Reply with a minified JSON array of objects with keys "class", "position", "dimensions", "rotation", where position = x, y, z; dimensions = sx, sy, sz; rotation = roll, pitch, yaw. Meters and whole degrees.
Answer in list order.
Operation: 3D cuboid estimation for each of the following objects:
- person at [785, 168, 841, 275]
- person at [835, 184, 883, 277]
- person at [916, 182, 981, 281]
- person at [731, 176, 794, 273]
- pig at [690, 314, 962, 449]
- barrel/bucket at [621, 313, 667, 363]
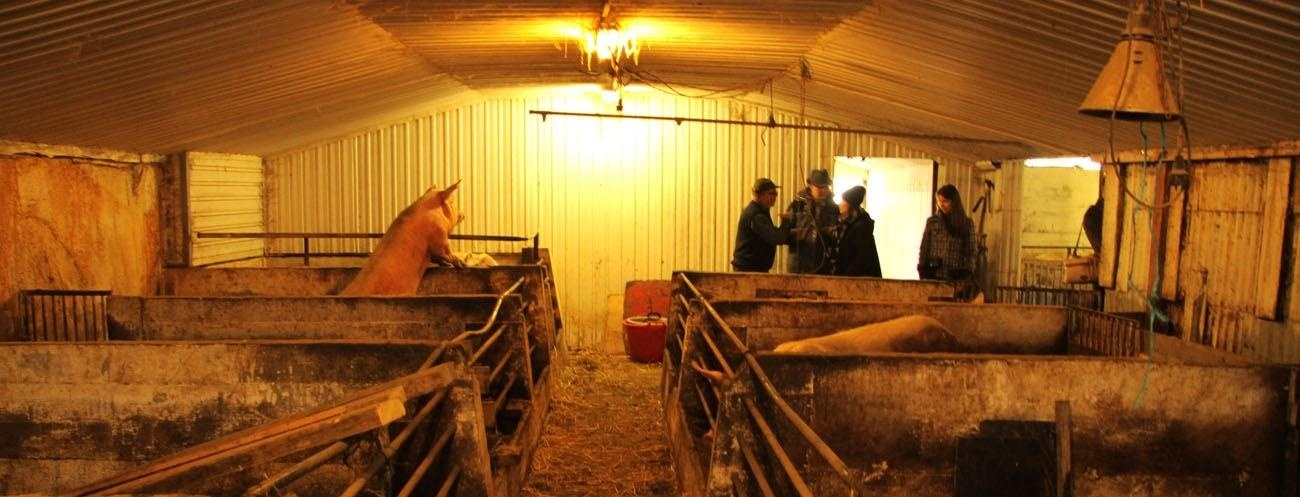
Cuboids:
[{"class":"person","position":[2.746,-0.470,24.595],"dimensions":[0.868,1.848,0.770],"rotation":[-1,0,-6]},{"class":"person","position":[3.557,-0.290,24.232],"dimensions":[0.713,1.594,0.628],"rotation":[5,-1,-10]},{"class":"person","position":[5.032,-0.284,24.202],"dimensions":[0.937,1.569,0.440],"rotation":[1,1,5]},{"class":"person","position":[1.844,-0.406,24.378],"dimensions":[0.906,1.569,0.552],"rotation":[1,1,4]},{"class":"pig","position":[2.952,2.082,21.890],"dimensions":[2.926,2.026,1.883],"rotation":[0,-1,-17]},{"class":"barrel/bucket","position":[-0.118,1.587,24.929],"dimensions":[0.958,0.741,0.859],"rotation":[-1,-3,2]}]
